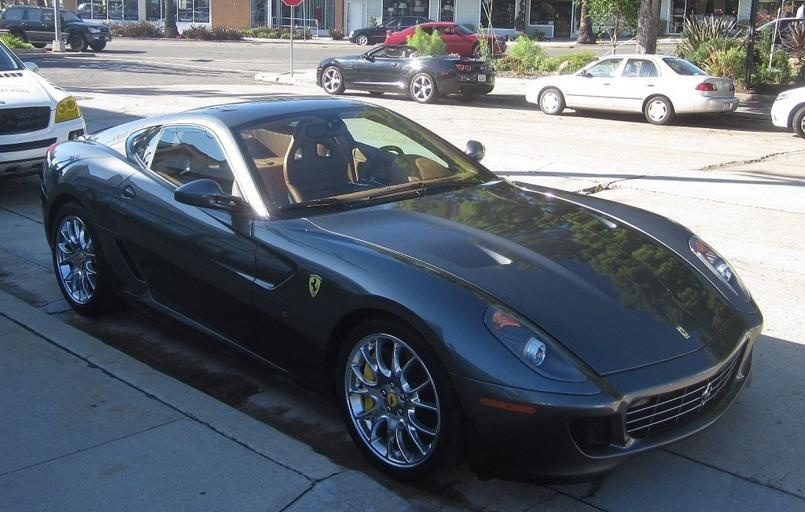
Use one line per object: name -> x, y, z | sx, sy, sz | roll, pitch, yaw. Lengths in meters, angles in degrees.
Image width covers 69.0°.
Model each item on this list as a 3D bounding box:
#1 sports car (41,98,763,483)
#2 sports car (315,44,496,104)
sports car -> -0.430, -0.030, 4.526 | 5.172, 1.567, 2.625 | 21, 30, 35
sports car -> -0.003, -6.068, 19.518 | 5.425, 1.723, 1.289 | 8, 20, 20
